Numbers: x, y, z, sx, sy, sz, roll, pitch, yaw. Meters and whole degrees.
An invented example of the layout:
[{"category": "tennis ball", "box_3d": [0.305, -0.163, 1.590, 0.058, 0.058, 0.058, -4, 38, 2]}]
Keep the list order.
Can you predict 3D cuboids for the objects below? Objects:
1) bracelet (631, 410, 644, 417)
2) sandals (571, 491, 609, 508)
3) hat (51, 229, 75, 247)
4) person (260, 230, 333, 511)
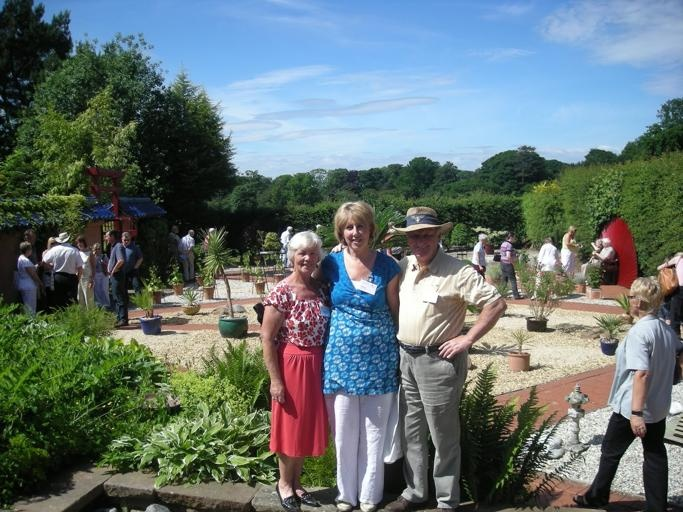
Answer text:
[{"category": "bracelet", "box_3d": [2.397, 1.275, 4.378, 0.059, 0.025, 0.059, 3, -4, -16]}, {"category": "sandals", "box_3d": [2.151, 2.107, 4.668, 0.233, 0.103, 0.125, 5, 1, 22]}, {"category": "hat", "box_3d": [-5.759, -0.384, 11.282, 0.565, 0.217, 0.519, 3, 38, 50]}, {"category": "person", "box_3d": [-0.348, 0.863, 4.169, 0.503, 1.534, 0.271, -2, 1, -9]}]
